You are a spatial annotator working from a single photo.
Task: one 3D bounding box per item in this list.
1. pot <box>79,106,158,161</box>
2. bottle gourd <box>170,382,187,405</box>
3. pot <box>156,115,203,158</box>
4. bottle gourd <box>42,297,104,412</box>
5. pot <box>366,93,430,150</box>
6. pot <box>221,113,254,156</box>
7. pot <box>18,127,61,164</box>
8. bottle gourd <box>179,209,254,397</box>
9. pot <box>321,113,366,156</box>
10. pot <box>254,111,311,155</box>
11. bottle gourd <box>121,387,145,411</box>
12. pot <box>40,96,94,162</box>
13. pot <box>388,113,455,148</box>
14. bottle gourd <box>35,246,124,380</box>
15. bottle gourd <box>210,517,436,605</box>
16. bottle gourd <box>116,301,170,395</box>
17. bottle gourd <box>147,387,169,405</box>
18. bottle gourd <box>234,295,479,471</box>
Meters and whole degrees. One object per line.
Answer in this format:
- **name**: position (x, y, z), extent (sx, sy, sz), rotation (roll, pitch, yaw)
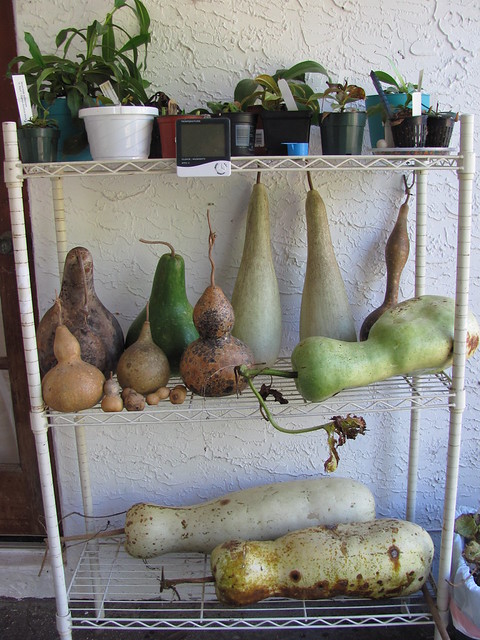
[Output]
- **pot**: position (-0.195, -0.301, 0.977), extent (0.104, 0.080, 0.073), rotation (6, 19, 17)
- **bottle gourd**: position (-0.101, 0.121, 0.998), extent (0.022, 0.016, 0.036), rotation (20, 16, 3)
- **pot**: position (-0.099, -0.294, 0.993), extent (0.083, 0.069, 0.077), rotation (1, 16, 0)
- **bottle gourd**: position (-0.276, 0.071, 0.978), extent (0.096, 0.148, 0.076), rotation (12, 22, 32)
- **pot**: position (0.256, -0.341, 1.091), extent (0.125, 0.111, 0.123), rotation (-1, 13, 0)
- **pot**: position (-0.007, -0.305, 1.010), extent (0.078, 0.065, 0.069), rotation (-1, 8, 10)
- **pot**: position (-0.319, -0.282, 0.978), extent (0.070, 0.054, 0.060), rotation (-10, 20, -28)
- **bottle gourd**: position (-0.040, 0.023, 0.989), extent (0.120, 0.213, 0.076), rotation (0, 19, 2)
- **pot**: position (0.167, -0.309, 1.025), extent (0.084, 0.058, 0.082), rotation (-4, 11, 1)
- **pot**: position (0.068, -0.303, 0.987), extent (0.091, 0.057, 0.069), rotation (1, 16, 1)
- **bottle gourd**: position (-0.173, 0.129, 0.971), extent (0.026, 0.021, 0.044), rotation (-3, 29, -14)
- **pot**: position (-0.305, -0.354, 1.068), extent (0.076, 0.073, 0.067), rotation (-12, -5, -22)
- **pot**: position (0.300, -0.309, 0.988), extent (0.108, 0.054, 0.053), rotation (0, 18, 1)
- **bottle gourd**: position (-0.292, -0.004, 1.093), extent (0.160, 0.253, 0.155), rotation (-17, 36, -38)
- **bottle gourd**: position (0.146, 0.424, 1.124), extent (0.407, 0.129, 0.146), rotation (-2, 14, -6)
- **bottle gourd**: position (-0.164, 0.086, 1.024), extent (0.087, 0.077, 0.061), rotation (-3, 19, -9)
- **bottle gourd**: position (-0.135, 0.126, 1.001), extent (0.044, 0.019, 0.020), rotation (-30, 13, -28)
- **bottle gourd**: position (0.231, 0.062, 1.018), extent (0.448, 0.106, 0.234), rotation (-21, 30, -13)
